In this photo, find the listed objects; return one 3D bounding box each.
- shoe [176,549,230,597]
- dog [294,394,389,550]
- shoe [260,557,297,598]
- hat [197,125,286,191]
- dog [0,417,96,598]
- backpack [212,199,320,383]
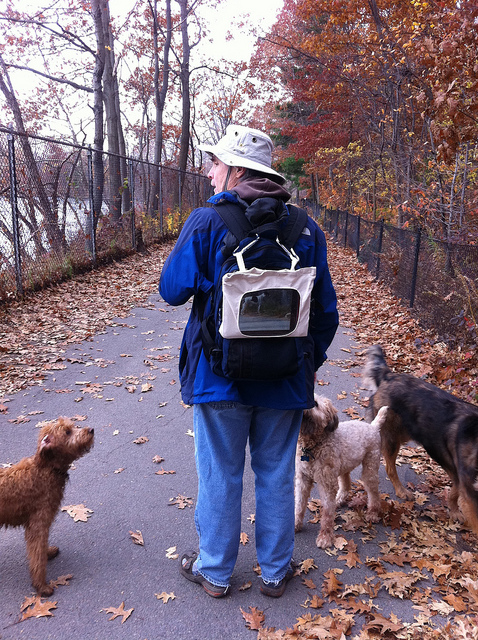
[{"bbox_3d":[-0.224,1.433,3.432,0.151,0.177,0.402,-21,33,-39],"label":"shoe"},{"bbox_3d":[0.662,0.918,3.938,0.784,0.977,0.370,-9,15,-38],"label":"dog"},{"bbox_3d":[0.239,1.450,3.435,0.123,0.156,0.372,7,10,22],"label":"shoe"},{"bbox_3d":[0.005,-0.899,3.103,0.399,0.261,0.231,1,12,4],"label":"hat"},{"bbox_3d":[-1.167,1.082,3.532,0.400,0.838,0.609,3,12,10],"label":"dog"},{"bbox_3d":[0.127,-0.172,2.957,0.536,0.859,0.448,-3,24,-17],"label":"backpack"}]
